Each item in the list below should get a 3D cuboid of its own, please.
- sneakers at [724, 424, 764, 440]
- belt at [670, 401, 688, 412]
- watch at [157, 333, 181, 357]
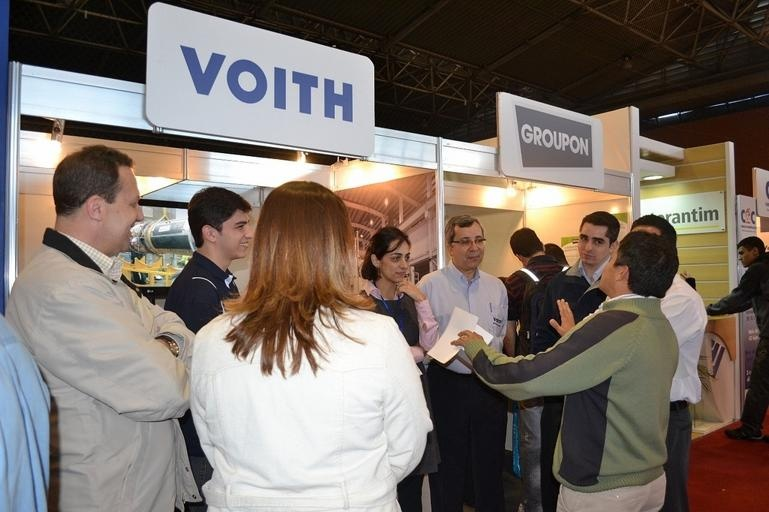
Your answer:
[{"bbox_3d":[3.755,1.869,6.320,0.391,0.176,0.164,3,0,29],"label":"sneakers"},{"bbox_3d":[1.694,0.867,3.450,0.103,0.076,0.058,0,5,-12],"label":"belt"},{"bbox_3d":[-0.979,0.406,2.726,0.042,0.100,0.089,-41,3,3],"label":"watch"}]
